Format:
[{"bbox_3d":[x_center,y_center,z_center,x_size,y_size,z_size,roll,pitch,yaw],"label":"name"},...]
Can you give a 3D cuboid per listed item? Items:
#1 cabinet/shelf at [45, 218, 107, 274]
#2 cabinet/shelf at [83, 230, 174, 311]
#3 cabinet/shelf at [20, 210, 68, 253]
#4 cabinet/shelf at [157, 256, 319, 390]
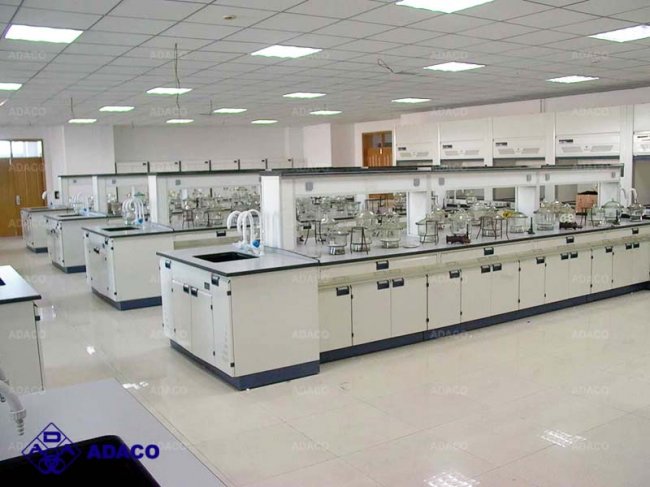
[{"bbox_3d":[-5.464,0.108,9.875,0.995,0.726,0.572,14,-17,-41],"label":"cabinet/shelf"},{"bbox_3d":[-3.264,0.274,7.728,1.002,1.272,1.816,-6,8,-38],"label":"cabinet/shelf"},{"bbox_3d":[-7.482,-0.408,12.591,1.149,1.432,1.987,-2,4,-38],"label":"cabinet/shelf"},{"bbox_3d":[-1.042,0.665,5.206,1.016,1.197,1.957,-8,10,-36],"label":"cabinet/shelf"}]
